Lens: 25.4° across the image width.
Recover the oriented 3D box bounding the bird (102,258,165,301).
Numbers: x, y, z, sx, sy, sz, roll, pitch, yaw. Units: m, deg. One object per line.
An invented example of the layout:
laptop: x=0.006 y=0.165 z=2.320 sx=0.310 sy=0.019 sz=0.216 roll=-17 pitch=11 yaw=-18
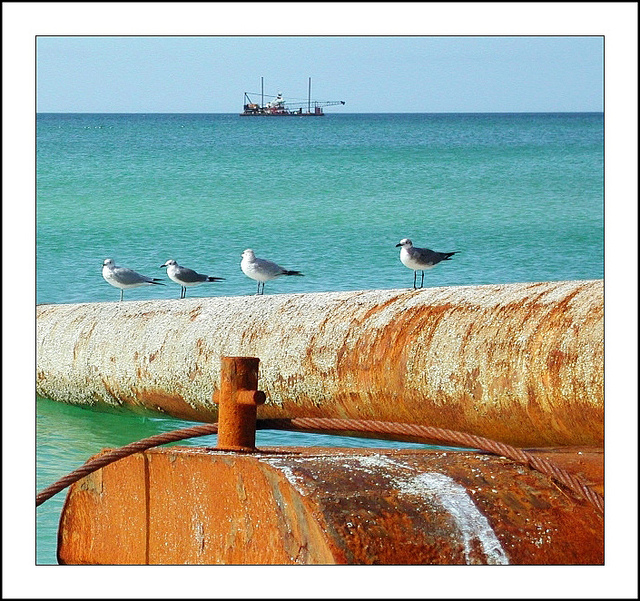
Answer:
bird: x=-2.162 y=-0.239 z=16.790 sx=0.833 sy=0.462 sz=0.265 roll=3 pitch=12 yaw=-12

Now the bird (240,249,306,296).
bird: x=-0.549 y=-0.312 z=15.703 sx=0.864 sy=0.491 sz=0.278 roll=1 pitch=-3 yaw=-31

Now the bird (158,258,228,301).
bird: x=-1.484 y=-0.245 z=17.123 sx=0.823 sy=0.467 sz=0.267 roll=2 pitch=1 yaw=-19

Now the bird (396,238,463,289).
bird: x=1.146 y=-0.391 z=14.903 sx=1.000 sy=0.547 sz=0.313 roll=-8 pitch=8 yaw=-44
